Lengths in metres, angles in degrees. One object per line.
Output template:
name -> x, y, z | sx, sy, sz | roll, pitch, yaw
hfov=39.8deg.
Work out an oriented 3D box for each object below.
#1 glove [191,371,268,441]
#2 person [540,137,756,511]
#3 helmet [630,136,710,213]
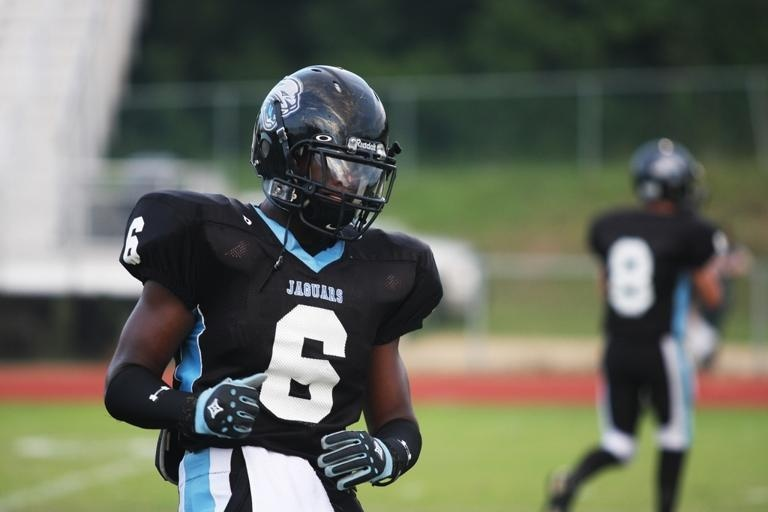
glove -> -0.718, 0.702, 4.868 | 0.317, 0.254, 0.149 | 5, 29, -33
person -> 1.796, 0.437, 7.127 | 0.940, 2.385, 1.085 | 1, 7, 18
helmet -> 2.019, -0.588, 7.499 | 0.523, 0.489, 0.419 | 13, 10, -5
